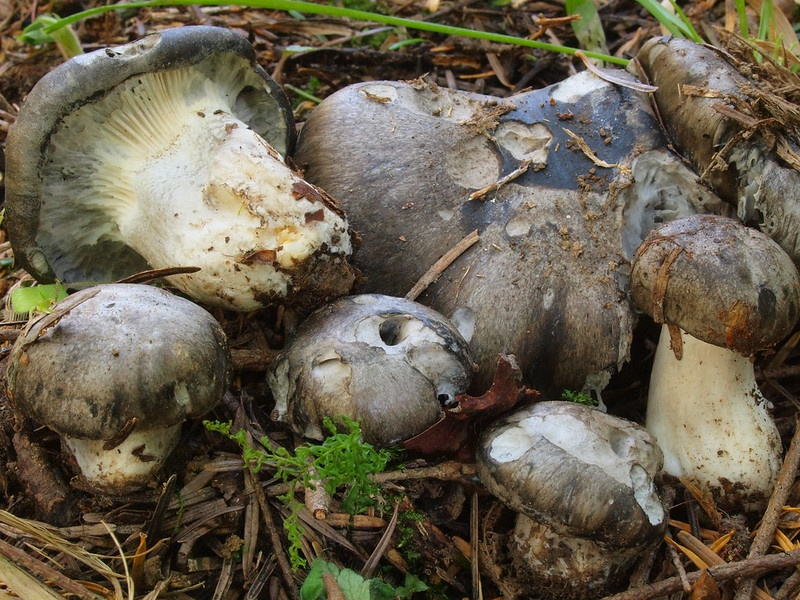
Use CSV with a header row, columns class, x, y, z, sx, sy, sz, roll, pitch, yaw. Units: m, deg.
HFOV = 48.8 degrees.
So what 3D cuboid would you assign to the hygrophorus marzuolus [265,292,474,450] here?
class,x,y,z,sx,sy,sz,roll,pitch,yaw
hygrophorus marzuolus,-0.130,0.261,3.483,0.725,0.289,0.668,26,66,13
